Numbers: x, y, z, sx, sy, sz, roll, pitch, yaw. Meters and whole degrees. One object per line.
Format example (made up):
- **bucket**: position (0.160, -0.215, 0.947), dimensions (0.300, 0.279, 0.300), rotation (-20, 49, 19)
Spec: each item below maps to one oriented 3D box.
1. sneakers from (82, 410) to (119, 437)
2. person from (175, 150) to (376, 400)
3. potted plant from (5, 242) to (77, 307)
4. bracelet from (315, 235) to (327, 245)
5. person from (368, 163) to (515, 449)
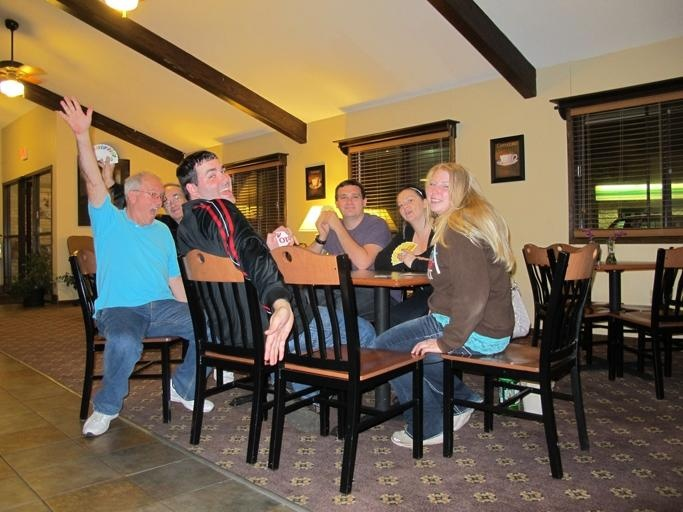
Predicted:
- **sneakers**: position (-1.413, 0.988, 2.950), dimensions (0.110, 0.080, 0.216), rotation (0, -7, 7)
- **person**: position (-0.395, 0.118, 2.691), dimensions (0.736, 1.375, 0.979), rotation (-5, 9, -34)
- **potted plant**: position (-5.333, 0.350, 8.954), dimensions (1.233, 1.066, 1.026), rotation (-3, 6, -43)
- **bracelet**: position (-0.169, -0.121, 3.983), dimensions (0.101, 0.081, 0.062), rotation (10, -4, -6)
- **person**: position (0.574, 0.279, 2.708), dimensions (0.680, 1.563, 0.427), rotation (2, 8, 17)
